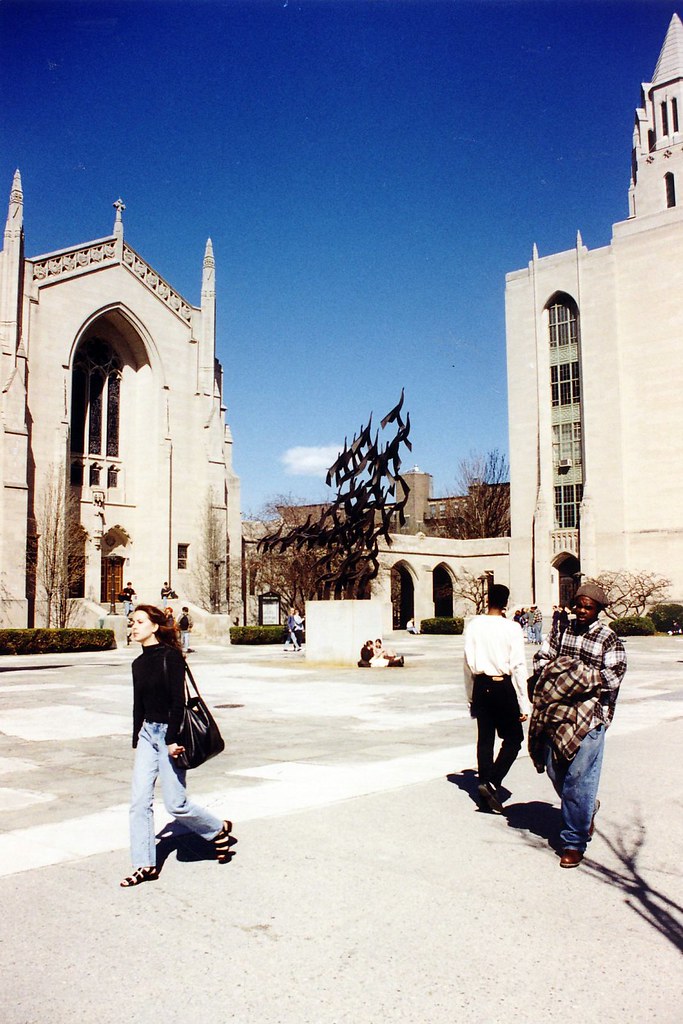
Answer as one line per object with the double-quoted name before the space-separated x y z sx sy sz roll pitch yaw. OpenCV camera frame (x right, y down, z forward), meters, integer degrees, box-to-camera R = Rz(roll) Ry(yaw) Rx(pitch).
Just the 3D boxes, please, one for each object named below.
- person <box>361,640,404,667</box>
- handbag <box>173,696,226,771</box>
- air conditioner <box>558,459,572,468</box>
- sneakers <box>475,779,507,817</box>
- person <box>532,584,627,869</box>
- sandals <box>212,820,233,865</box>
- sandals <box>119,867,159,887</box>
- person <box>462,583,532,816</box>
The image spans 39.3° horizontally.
"person" 0.908 3.467 23.414 0.813 0.657 0.958 -5 -6 41
"handbag" -0.801 1.263 5.475 0.245 0.423 0.306 0 -4 -9
"air conditioner" 12.733 -2.736 54.609 0.217 0.672 0.779 2 -5 -35
"sneakers" 1.061 2.032 6.801 0.164 0.369 0.128 -5 -10 -31
"person" 1.421 1.247 5.823 0.596 1.607 0.767 -2 -4 14
"sandals" -0.679 1.914 5.583 0.093 0.277 0.068 -3 -7 2
"sandals" -1.064 1.945 5.093 0.174 0.080 0.075 18 -25 -37
"person" 1.099 1.318 6.822 0.549 1.593 0.396 -3 -5 27
